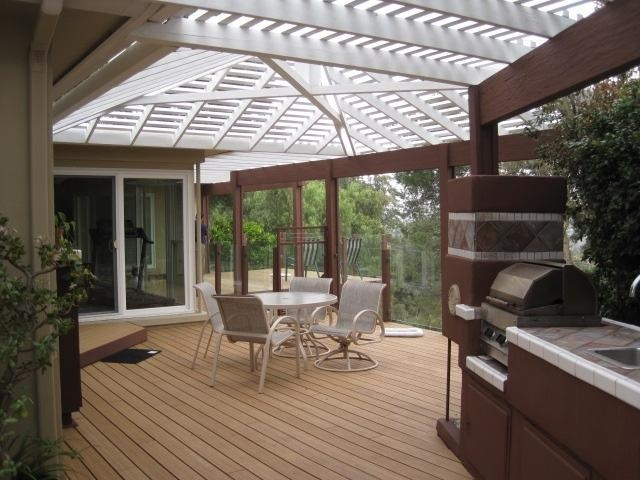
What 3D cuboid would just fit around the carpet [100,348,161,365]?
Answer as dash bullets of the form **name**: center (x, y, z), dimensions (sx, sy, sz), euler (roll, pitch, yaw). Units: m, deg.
- **carpet**: center (-2.836, 1.760, 6.914), dimensions (0.621, 0.031, 0.761), euler (-1, 3, 14)
